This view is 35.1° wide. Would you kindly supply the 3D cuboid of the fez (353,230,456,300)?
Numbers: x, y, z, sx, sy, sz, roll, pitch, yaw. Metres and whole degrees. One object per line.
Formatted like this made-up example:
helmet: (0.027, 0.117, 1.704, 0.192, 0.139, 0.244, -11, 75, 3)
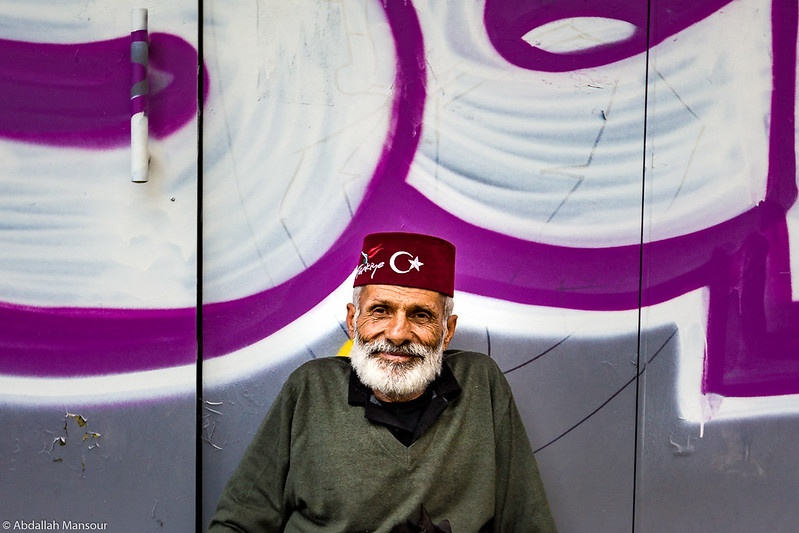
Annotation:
fez: (0.039, -0.033, 6.603, 0.399, 0.204, 0.389, 3, 1, -34)
